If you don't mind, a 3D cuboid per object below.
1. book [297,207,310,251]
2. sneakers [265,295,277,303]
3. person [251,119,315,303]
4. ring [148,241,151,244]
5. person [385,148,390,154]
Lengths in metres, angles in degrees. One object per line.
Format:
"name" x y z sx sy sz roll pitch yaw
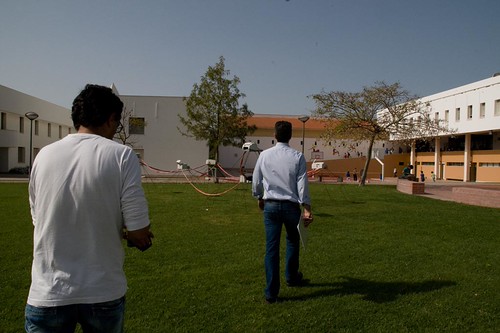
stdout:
"book" 0.788 0.974 5.262 0.146 0.617 0.570 1 3 8
"sneakers" 0.306 1.950 5.168 0.126 0.132 0.082 -1 10 3
"person" 0.471 0.637 5.263 0.863 2.669 0.594 0 3 0
"ring" -0.964 0.740 3.380 0.021 0.024 0.005 -2 10 -8
"person" 22.942 -2.687 58.850 0.624 0.990 1.764 1 3 21
